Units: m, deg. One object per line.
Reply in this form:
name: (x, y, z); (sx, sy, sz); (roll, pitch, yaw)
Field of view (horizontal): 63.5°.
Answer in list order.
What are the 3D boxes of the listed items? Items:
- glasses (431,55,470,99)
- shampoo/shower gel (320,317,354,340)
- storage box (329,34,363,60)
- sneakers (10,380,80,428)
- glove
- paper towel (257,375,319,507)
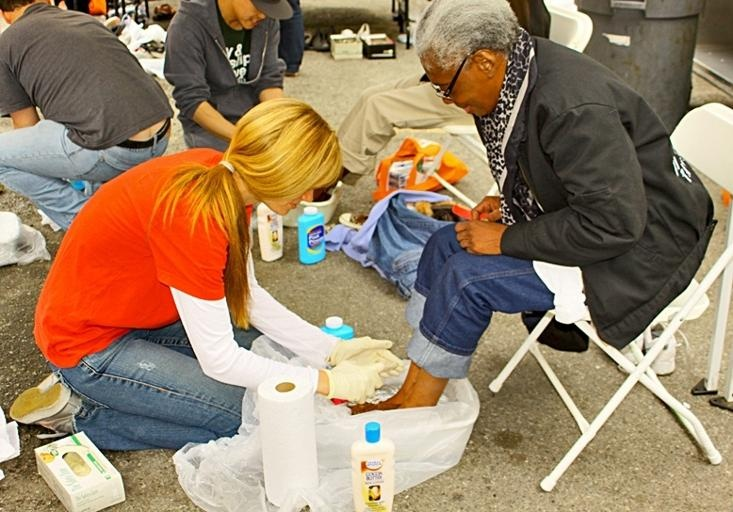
glasses: (0.292, -0.628, 2.072); (0.030, 0.109, 0.106); (33, -5, -3)
shampoo/shower gel: (-0.138, 0.323, 2.637); (0.099, 0.145, 0.052); (8, 50, 1)
storage box: (-0.237, -2.376, 6.751); (0.336, 0.201, 0.321); (0, 27, -7)
sneakers: (-1.239, 0.579, 2.295); (0.303, 0.082, 0.094); (-1, 36, 0)
glove: (-0.039, 0.447, 2.291); (0.296, 0.156, 0.233); (-2, 24, -24)
paper towel: (-0.268, 0.635, 2.045); (0.195, 0.451, 0.258); (-3, 35, -5)
